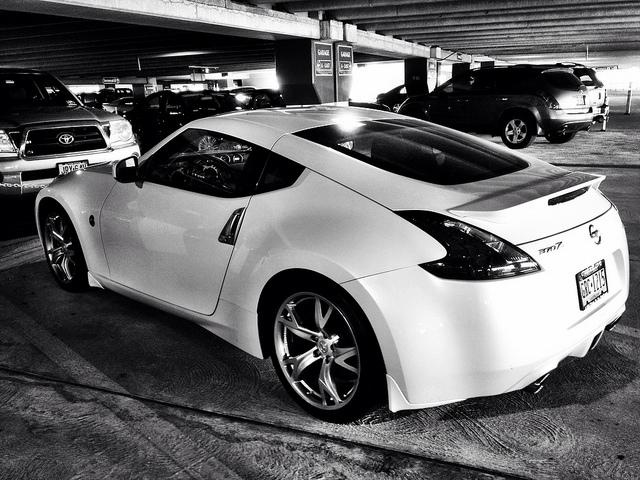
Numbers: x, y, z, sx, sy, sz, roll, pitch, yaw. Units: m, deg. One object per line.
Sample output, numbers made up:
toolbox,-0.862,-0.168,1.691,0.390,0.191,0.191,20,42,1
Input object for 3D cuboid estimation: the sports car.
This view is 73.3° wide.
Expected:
sports car,-0.181,-0.121,3.019,3.654,1.153,1.966,19,25,35
